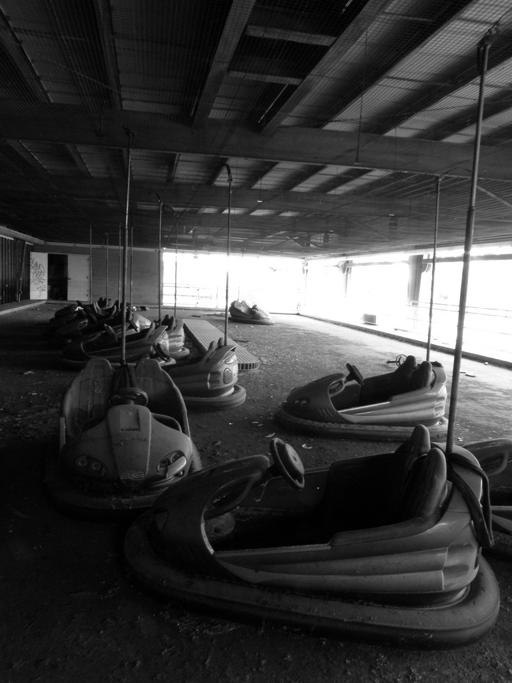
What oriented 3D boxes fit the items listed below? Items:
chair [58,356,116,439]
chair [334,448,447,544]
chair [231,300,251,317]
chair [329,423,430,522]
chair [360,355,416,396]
[{"bbox_3d":[-0.981,0.322,2.797,0.295,0.452,0.147,18,-15,-17],"label":"chair"},{"bbox_3d":[0.390,0.458,1.607,0.359,0.355,0.254,-6,3,-7],"label":"chair"},{"bbox_3d":[-0.464,-0.972,13.632,0.550,0.368,0.846,1,7,-2],"label":"chair"},{"bbox_3d":[0.418,0.504,1.909,0.406,0.461,0.327,3,-1,6],"label":"chair"},{"bbox_3d":[1.072,0.277,3.890,0.410,0.332,0.229,3,7,17],"label":"chair"}]
